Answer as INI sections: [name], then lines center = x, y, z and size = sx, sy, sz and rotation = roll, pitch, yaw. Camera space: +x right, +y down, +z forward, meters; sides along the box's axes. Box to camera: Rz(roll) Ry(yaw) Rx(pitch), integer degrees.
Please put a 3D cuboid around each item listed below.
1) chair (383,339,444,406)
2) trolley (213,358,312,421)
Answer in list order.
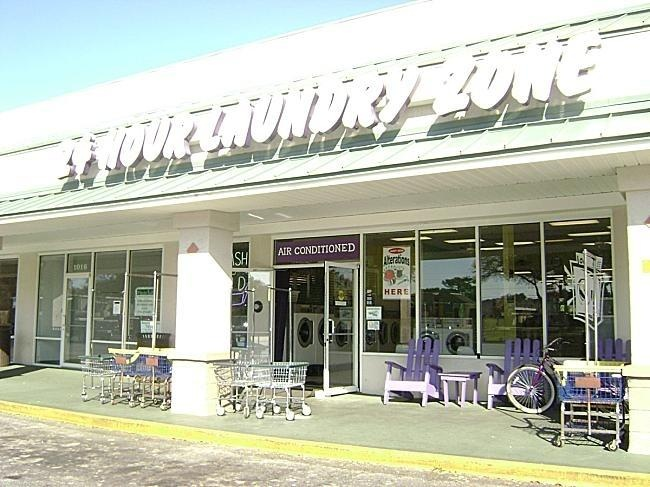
[chair]
center = 2.002, 2.848, 12.665
size = 1.168, 1.473, 1.108
rotation = 0, 0, 38
[trolley]
center = -1.327, 3.007, 11.586
size = 1.862, 0.920, 1.169
rotation = 0, -7, 16
